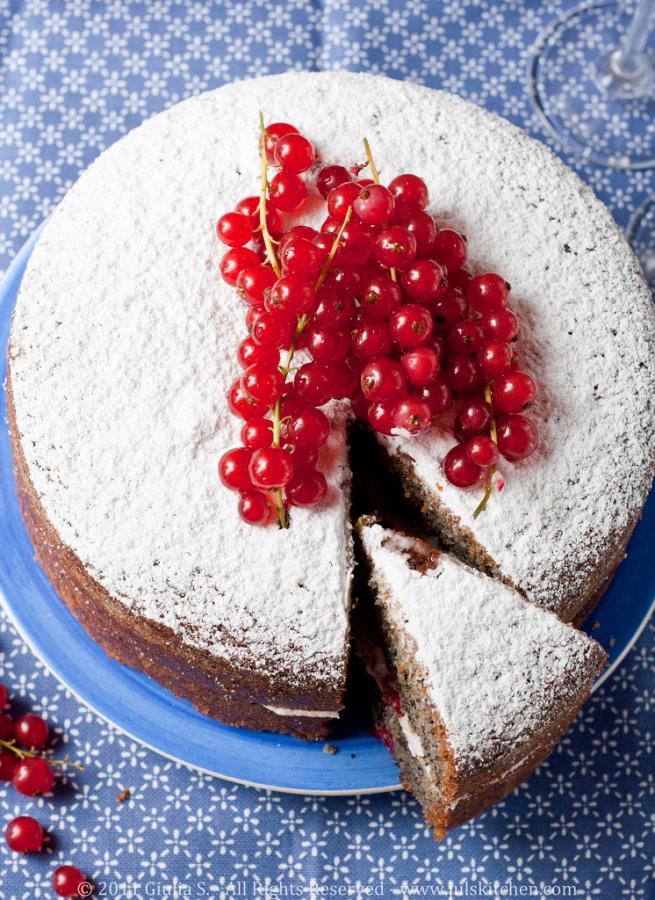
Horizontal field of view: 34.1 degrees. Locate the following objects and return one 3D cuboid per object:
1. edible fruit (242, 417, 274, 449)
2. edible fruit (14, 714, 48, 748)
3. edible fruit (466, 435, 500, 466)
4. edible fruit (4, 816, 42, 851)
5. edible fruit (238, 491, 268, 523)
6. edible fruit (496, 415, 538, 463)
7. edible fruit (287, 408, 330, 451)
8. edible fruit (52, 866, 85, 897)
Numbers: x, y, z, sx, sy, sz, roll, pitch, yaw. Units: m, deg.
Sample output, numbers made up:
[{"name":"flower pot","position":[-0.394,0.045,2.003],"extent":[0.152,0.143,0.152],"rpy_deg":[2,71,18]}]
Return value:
[{"name":"edible fruit","position":[-0.111,-0.027,1.703],"extent":[0.032,0.030,0.036],"rpy_deg":[27,42,-11]},{"name":"edible fruit","position":[-0.597,0.565,2.147],"extent":[0.049,0.055,0.046],"rpy_deg":[-8,34,20]},{"name":"edible fruit","position":[0.256,0.003,1.775],"extent":[0.049,0.084,0.050],"rpy_deg":[-7,84,2]},{"name":"edible fruit","position":[-0.593,0.752,2.089],"extent":[0.072,0.067,0.074],"rpy_deg":[-5,84,13]},{"name":"edible fruit","position":[-0.120,0.093,1.741],"extent":[0.051,0.040,0.050],"rpy_deg":[-2,84,2]},{"name":"edible fruit","position":[0.311,-0.021,1.774],"extent":[0.075,0.070,0.077],"rpy_deg":[-13,84,-6]},{"name":"edible fruit","position":[-0.031,-0.033,1.761],"extent":[0.069,0.073,0.065],"rpy_deg":[-3,27,-14]},{"name":"edible fruit","position":[-0.505,0.836,2.076],"extent":[0.051,0.047,0.061],"rpy_deg":[-2,52,-5]}]
